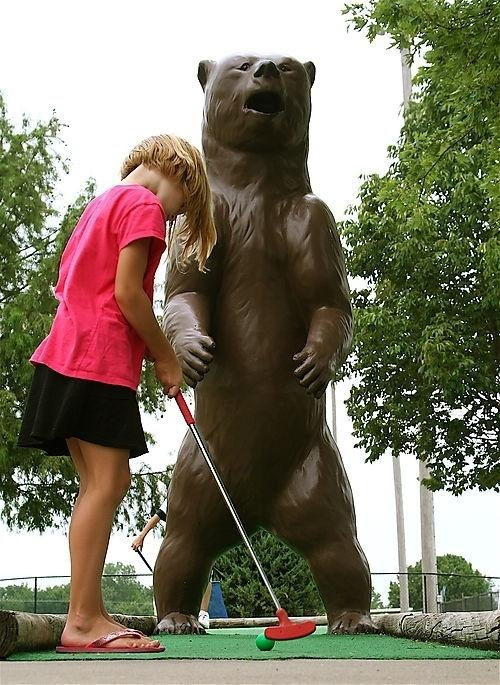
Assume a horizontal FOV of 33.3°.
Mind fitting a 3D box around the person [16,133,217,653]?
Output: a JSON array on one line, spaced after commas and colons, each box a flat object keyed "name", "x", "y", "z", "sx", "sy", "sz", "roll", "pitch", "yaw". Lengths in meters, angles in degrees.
[{"name": "person", "x": -0.398, "y": 0.039, "z": 2.809, "sx": 0.663, "sy": 1.836, "sz": 0.626, "roll": 10, "pitch": -18, "yaw": -28}]

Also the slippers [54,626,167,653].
[{"name": "slippers", "x": -0.394, "y": 0.846, "z": 2.339, "sx": 0.301, "sy": 0.058, "sz": 0.120, "roll": -1, "pitch": -13, "yaw": -4}]
